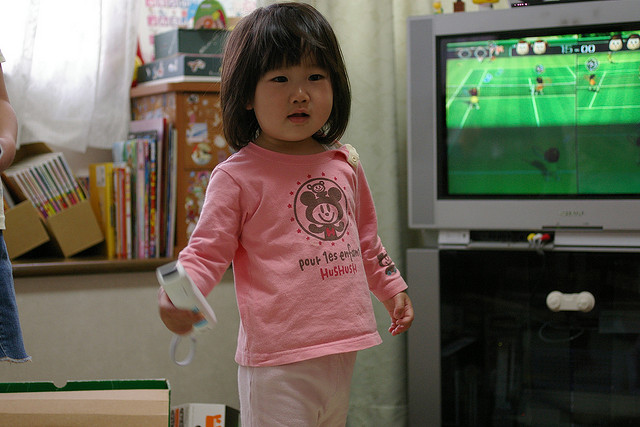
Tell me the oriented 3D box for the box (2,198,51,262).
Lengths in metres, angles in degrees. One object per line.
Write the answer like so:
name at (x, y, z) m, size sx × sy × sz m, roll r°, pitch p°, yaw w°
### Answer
box at (-1.032, 0.056, 2.048) m, size 0.142 × 0.210 × 0.064 m, roll -5°, pitch 10°, yaw -26°

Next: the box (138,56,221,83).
box at (-0.546, -0.543, 2.199) m, size 0.339 × 0.087 × 0.102 m, roll 4°, pitch 10°, yaw 25°

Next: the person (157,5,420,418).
person at (-0.088, -0.006, 1.528) m, size 0.667 × 1.082 × 0.315 m, roll -3°, pitch 9°, yaw -18°

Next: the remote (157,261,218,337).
remote at (-0.303, 0.194, 1.384) m, size 0.100 × 0.174 × 0.041 m, roll -24°, pitch 30°, yaw 19°

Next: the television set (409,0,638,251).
television set at (0.750, -0.318, 2.050) m, size 0.844 × 0.810 × 0.448 m, roll -1°, pitch -2°, yaw 9°

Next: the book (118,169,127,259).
book at (-0.717, 0.001, 2.120) m, size 0.032 × 0.321 × 0.023 m, roll 0°, pitch 9°, yaw 1°

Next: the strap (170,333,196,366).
strap at (-0.342, 0.332, 1.433) m, size 0.072 × 0.088 × 0.031 m, roll 5°, pitch -7°, yaw -18°

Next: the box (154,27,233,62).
box at (-0.537, -0.656, 2.273) m, size 0.249 × 0.109 × 0.324 m, roll 4°, pitch 11°, yaw 17°

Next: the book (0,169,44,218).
book at (-1.089, -0.070, 2.049) m, size 0.045 × 0.202 × 0.184 m, roll -36°, pitch 7°, yaw -9°

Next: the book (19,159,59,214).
book at (-0.998, -0.113, 2.087) m, size 0.039 × 0.157 × 0.168 m, roll -34°, pitch -18°, yaw -3°

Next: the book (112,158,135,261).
book at (-0.715, -0.016, 2.123) m, size 0.052 × 0.464 × 0.346 m, roll -2°, pitch 3°, yaw -16°

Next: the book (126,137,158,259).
book at (-0.650, -0.064, 2.125) m, size 0.062 × 0.575 × 0.430 m, roll 0°, pitch 0°, yaw -17°

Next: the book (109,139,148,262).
book at (-0.694, -0.029, 2.124) m, size 0.067 × 0.535 × 0.393 m, roll -4°, pitch 6°, yaw -26°

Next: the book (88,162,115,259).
book at (-0.803, 0.002, 2.150) m, size 0.055 × 0.381 × 0.318 m, roll -1°, pitch -4°, yaw -18°
